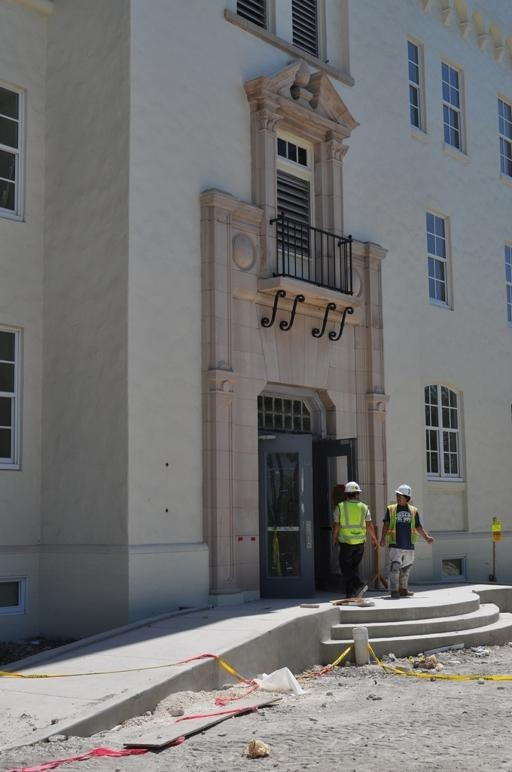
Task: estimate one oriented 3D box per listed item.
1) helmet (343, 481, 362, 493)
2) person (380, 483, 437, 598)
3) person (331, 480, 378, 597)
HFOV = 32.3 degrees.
[{"bbox_3d":[1.311,1.374,11.900,0.227,0.154,0.195,-4,-3,4],"label":"helmet"},{"bbox_3d":[2.149,2.243,12.852,0.656,1.552,2.182,-2,-8,7],"label":"person"},{"bbox_3d":[1.291,2.081,11.866,0.546,1.547,0.887,-3,-7,12],"label":"person"}]
